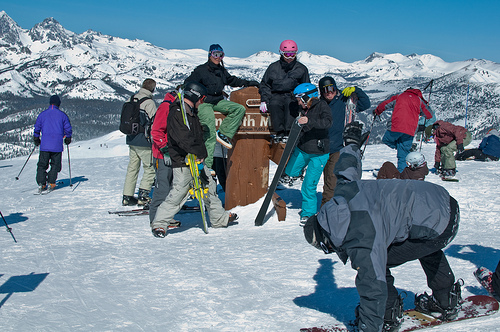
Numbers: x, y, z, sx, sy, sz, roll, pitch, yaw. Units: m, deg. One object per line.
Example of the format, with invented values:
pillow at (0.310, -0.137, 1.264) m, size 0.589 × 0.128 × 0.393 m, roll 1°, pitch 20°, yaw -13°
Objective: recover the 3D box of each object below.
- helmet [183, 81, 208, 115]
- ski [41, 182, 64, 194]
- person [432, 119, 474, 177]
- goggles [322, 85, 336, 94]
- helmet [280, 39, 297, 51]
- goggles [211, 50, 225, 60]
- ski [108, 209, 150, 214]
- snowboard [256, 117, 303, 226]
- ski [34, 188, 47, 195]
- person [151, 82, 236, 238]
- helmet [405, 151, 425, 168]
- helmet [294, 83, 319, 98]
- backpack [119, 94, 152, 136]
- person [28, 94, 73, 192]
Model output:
helmet at (-0.961, -1.191, 9.175) m, size 0.376 × 0.555 × 0.193 m, roll 0°, pitch 4°, yaw -7°
ski at (-4.801, 0.537, 12.708) m, size 0.047 × 0.104 × 0.806 m, roll -5°, pitch 16°, yaw 16°
person at (5.973, -0.587, 15.454) m, size 1.222 × 1.625 × 0.909 m, roll -15°, pitch -14°, yaw 31°
goggles at (1.498, -1.451, 9.931) m, size 0.163 × 0.094 × 0.187 m, roll -12°, pitch 4°, yaw 2°
helmet at (0.730, -2.292, 9.930) m, size 0.297 × 0.196 × 0.351 m, roll 0°, pitch 4°, yaw 0°
goggles at (-0.599, -2.153, 10.197) m, size 0.142 × 0.145 × 0.339 m, roll 4°, pitch 5°, yaw 41°
ski at (-2.512, 0.945, 10.922) m, size 0.900 × 0.042 × 0.102 m, roll 3°, pitch 9°, yaw -15°
snowboard at (0.561, 0.076, 10.423) m, size 0.298 × 2.253 × 0.314 m, roll 15°, pitch 17°, yaw -33°
ski at (-4.975, 0.591, 12.422) m, size 0.265 × 0.123 × 0.300 m, roll 0°, pitch 4°, yaw -10°
person at (-1.044, -0.103, 9.406) m, size 0.730 × 2.725 × 1.187 m, roll 4°, pitch 6°, yaw 44°
helmet at (3.418, -0.182, 10.874) m, size 0.372 × 0.265 × 0.297 m, roll -17°, pitch -48°, yaw 27°
helmet at (1.017, -1.377, 9.530) m, size 0.354 × 0.253 × 0.250 m, roll 25°, pitch 1°, yaw 3°
backpack at (-2.432, -1.042, 11.021) m, size 0.578 × 0.813 × 0.257 m, roll -1°, pitch 4°, yaw -13°
person at (-4.771, -0.562, 12.683) m, size 0.848 × 2.314 × 0.640 m, roll -1°, pitch 5°, yaw -19°
